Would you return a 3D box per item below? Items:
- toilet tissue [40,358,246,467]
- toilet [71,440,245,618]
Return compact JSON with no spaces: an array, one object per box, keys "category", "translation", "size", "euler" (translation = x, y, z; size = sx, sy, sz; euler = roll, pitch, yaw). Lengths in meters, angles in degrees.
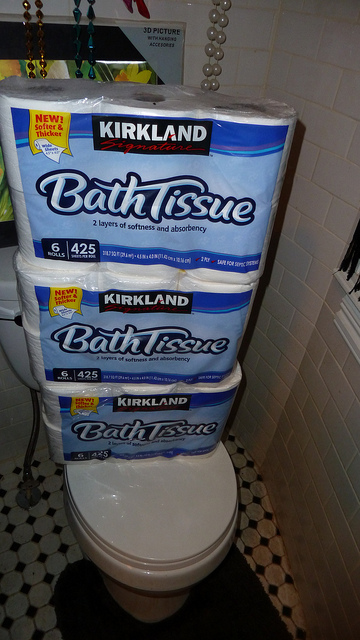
[{"category":"toilet tissue","translation":[-0.112,0.144,1.053],"size":[0.421,0.225,0.330],"euler":[-1,36,-11]},{"category":"toilet","translation":[-0.066,0.534,1.004],"size":[0.268,0.326,0.284],"euler":[13,33,10]}]
